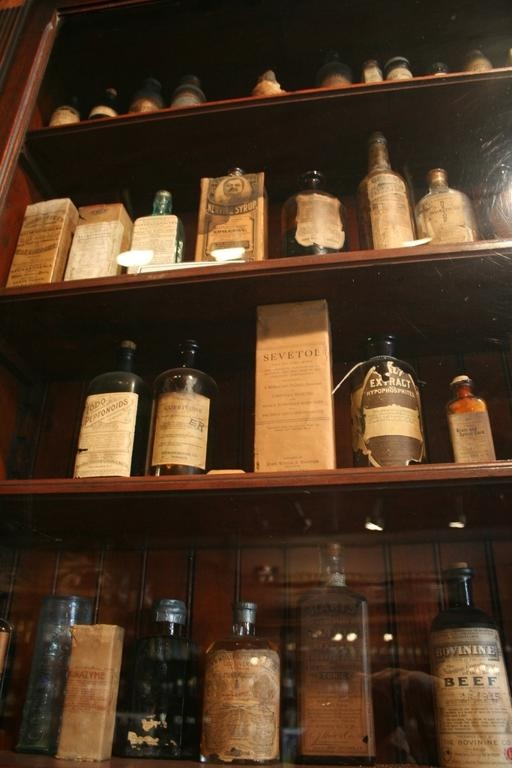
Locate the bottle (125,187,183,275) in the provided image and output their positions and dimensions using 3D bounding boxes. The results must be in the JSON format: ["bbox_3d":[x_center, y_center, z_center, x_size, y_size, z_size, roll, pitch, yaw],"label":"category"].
[{"bbox_3d":[-0.193,-0.303,1.186,0.097,0.185,0.074,-4,-17,18],"label":"bottle"}]

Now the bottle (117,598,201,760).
[{"bbox_3d":[-0.137,0.417,0.854,0.111,0.206,0.102,2,-27,1],"label":"bottle"}]

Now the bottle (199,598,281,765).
[{"bbox_3d":[-0.021,0.399,0.802,0.109,0.196,0.051,-20,-34,36],"label":"bottle"}]

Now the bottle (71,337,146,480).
[{"bbox_3d":[-0.244,0.063,0.981,0.095,0.214,0.094,2,-27,1],"label":"bottle"}]

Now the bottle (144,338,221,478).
[{"bbox_3d":[-0.128,0.063,0.993,0.104,0.209,0.088,5,-27,-5],"label":"bottle"}]

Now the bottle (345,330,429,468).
[{"bbox_3d":[0.205,0.043,0.960,0.111,0.208,0.065,-2,-27,8],"label":"bottle"}]

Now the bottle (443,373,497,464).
[{"bbox_3d":[0.348,0.067,0.972,0.074,0.164,0.070,-1,-26,0],"label":"bottle"}]
